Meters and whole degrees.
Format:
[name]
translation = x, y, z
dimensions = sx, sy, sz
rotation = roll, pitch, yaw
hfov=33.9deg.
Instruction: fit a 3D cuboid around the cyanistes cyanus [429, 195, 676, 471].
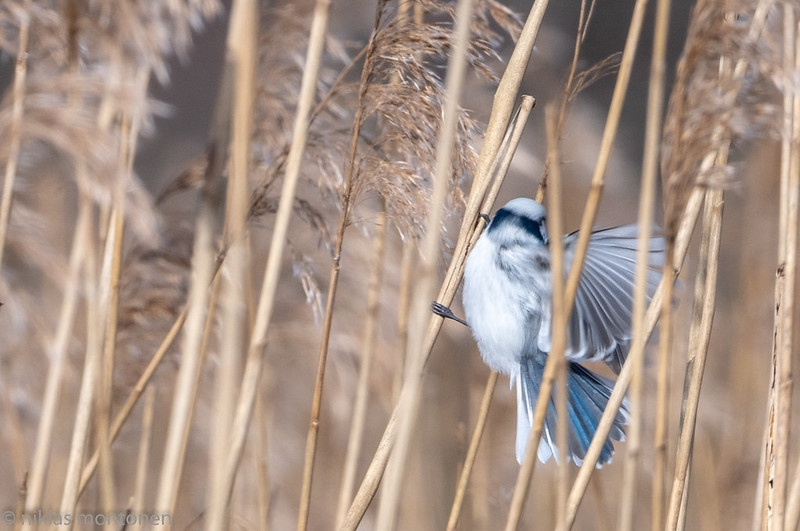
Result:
[cyanistes cyanus]
translation = 0.374, 0.141, 3.937
dimensions = 0.840, 0.857, 0.463
rotation = 21, -54, -1
